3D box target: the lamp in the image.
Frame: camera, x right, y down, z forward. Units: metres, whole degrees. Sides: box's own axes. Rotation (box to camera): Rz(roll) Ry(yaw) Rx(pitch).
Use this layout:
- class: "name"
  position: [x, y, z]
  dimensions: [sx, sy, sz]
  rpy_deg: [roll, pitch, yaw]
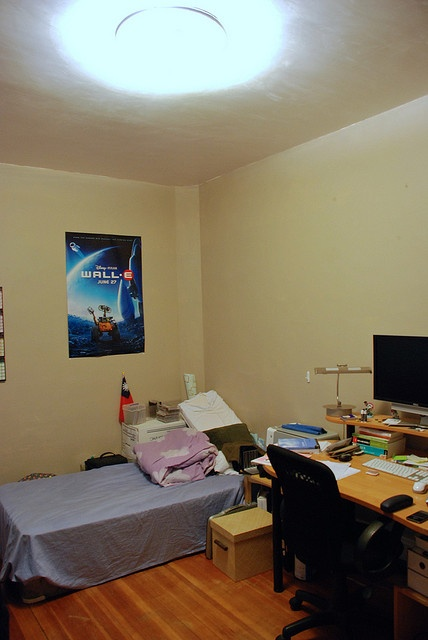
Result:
- class: "lamp"
  position: [0.788, 0.434, 3.010]
  dimensions: [0.346, 0.326, 0.191]
  rpy_deg: [2, -2, 1]

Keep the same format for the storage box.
- class: "storage box"
  position: [-0.549, 1.112, 4.367]
  dimensions: [0.491, 0.432, 0.384]
  rpy_deg: [1, 8, -16]
